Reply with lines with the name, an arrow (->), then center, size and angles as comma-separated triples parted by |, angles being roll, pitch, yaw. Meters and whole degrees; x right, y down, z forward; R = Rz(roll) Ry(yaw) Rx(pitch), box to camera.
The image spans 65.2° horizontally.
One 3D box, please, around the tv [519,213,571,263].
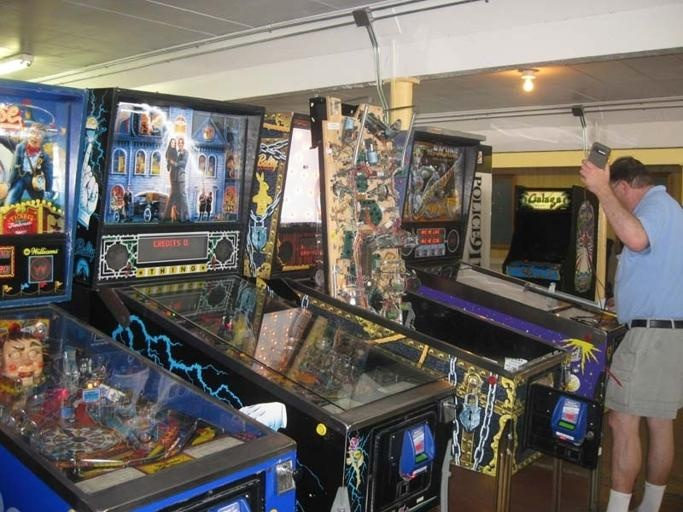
tv -> 2.528, -0.211, 6.573 | 0.533, 0.544, 0.296 | 7, 7, 42
